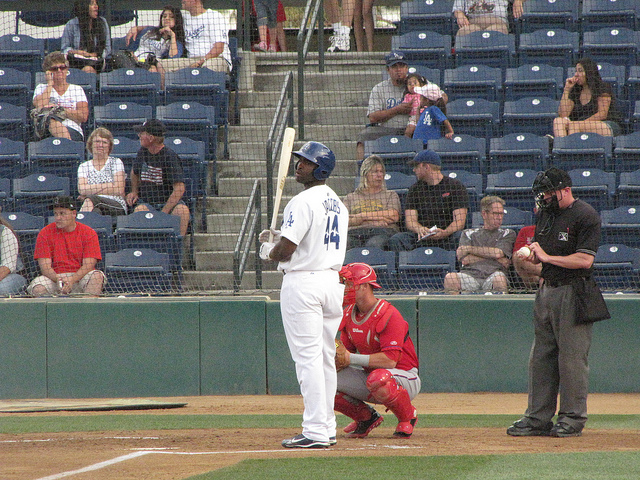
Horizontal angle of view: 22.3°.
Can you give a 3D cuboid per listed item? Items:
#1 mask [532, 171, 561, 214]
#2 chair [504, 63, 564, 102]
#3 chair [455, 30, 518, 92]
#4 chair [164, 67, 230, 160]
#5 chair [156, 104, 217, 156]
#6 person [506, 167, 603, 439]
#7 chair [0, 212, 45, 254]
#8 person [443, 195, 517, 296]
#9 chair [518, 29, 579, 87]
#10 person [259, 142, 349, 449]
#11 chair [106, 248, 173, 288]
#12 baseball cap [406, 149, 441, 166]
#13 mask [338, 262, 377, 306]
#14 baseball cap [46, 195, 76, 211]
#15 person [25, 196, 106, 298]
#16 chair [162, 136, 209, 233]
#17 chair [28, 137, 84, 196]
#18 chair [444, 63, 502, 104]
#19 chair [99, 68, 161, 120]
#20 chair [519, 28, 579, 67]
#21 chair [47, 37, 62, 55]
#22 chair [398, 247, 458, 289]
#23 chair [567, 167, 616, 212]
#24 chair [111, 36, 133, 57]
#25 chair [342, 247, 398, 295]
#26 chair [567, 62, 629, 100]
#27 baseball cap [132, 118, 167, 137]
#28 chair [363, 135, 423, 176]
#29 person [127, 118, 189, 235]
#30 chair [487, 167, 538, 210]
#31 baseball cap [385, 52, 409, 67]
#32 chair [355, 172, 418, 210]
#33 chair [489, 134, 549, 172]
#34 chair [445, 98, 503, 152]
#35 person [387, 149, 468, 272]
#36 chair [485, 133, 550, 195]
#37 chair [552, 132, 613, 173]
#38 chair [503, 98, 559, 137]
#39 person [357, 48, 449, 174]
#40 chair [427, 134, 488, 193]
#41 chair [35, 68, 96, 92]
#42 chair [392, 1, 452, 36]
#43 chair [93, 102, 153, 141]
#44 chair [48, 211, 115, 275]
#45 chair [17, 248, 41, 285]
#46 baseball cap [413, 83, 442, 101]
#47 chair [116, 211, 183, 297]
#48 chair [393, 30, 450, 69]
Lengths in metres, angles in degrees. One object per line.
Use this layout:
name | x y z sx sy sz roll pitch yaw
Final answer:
mask | 2.501 -0.530 18.171 0.248 0.462 0.218 1 2 43
chair | 2.940 -2.169 22.654 0.793 0.528 0.557 1 11 6
chair | 2.241 -2.518 22.901 0.800 0.798 0.646 3 6 14
chair | -1.961 -1.832 23.034 1.143 1.283 1.073 -3 5 -32
chair | -1.851 -1.544 22.253 0.933 0.734 0.625 -1 9 4
person | 2.625 0.686 18.113 0.902 2.991 0.541 0 1 5
chair | -3.796 -0.079 21.076 0.533 0.658 0.582 1 -11 -11
person | 2.006 0.168 20.423 0.937 1.375 0.906 -1 -1 -2
chair | 3.251 -2.572 23.217 1.169 0.992 0.800 1 7 11
person | -0.141 0.588 17.572 0.823 3.287 0.406 0 1 0
chair | -2.132 0.377 20.914 1.067 0.501 0.765 -3 -1 24
baseball cap | 1.319 -1.063 20.855 0.323 0.147 0.204 6 6 11
mask | 0.307 0.505 17.904 0.501 0.351 0.343 6 -2 -9
baseball cap | -3.223 -0.477 20.626 0.262 0.171 0.353 -1 -5 10
person | -3.195 0.063 20.561 0.962 1.227 0.248 0 1 -10
chair | -1.690 -0.757 21.626 0.497 1.294 0.874 -1 2 -36
chair | -3.559 -0.948 21.997 0.798 0.863 0.719 -1 1 2
chair | 2.095 -2.160 22.566 0.850 0.725 0.567 1 9 5
chair | -2.649 -2.035 22.665 0.874 0.664 0.655 -1 5 0
chair | 3.189 -2.729 23.125 0.905 0.571 0.585 1 27 2
chair | -4.000 -2.955 24.519 0.198 0.242 0.440 0 1 -8
chair | 1.330 0.344 20.507 0.821 0.522 0.486 0 -1 5
chair | 3.564 -0.639 21.299 0.645 0.772 0.588 -2 -3 10
chair | -3.067 -3.065 25.314 0.301 0.249 0.394 0 1 -8
chair | 0.624 0.376 20.533 0.683 0.633 0.611 1 -7 2
chair | 3.947 -2.081 22.404 0.729 0.641 0.473 -5 0 -30
baseball cap | -2.235 -1.483 21.314 0.392 0.170 0.235 6 7 9
chair | 0.965 -1.190 21.776 0.643 0.726 0.617 2 19 1
person | -2.076 -0.834 21.329 0.842 1.485 0.358 1 2 25
chair | 2.501 -0.681 21.194 0.582 0.668 0.580 0 0 7
baseball cap | 1.014 -2.471 22.192 0.236 0.149 0.300 -3 -2 1
chair | 0.827 -0.594 21.449 0.582 0.666 0.590 0 -15 1
chair | 2.616 -1.138 21.592 0.783 0.508 0.439 0 17 15
chair | 2.068 -1.412 22.214 0.959 0.609 1.000 -7 -17 5
person | 1.338 -0.255 20.664 1.289 1.642 1.164 -5 16 -10
chair | 2.567 -1.017 21.383 0.827 0.826 0.718 0 1 7
chair | 3.519 -1.173 21.641 0.792 0.546 0.531 1 15 37
chair | 2.821 -1.734 22.160 0.830 0.512 0.506 1 41 6
person | 1.117 -1.678 22.089 1.380 1.705 1.030 0 21 15
chair | 1.868 -1.025 21.897 0.869 1.020 0.778 0 1 8
chair | -3.553 -2.238 22.745 0.422 0.295 0.197 3 43 -3
chair | 1.474 -3.278 23.883 0.873 0.730 0.524 0 2 4
chair | -2.706 -1.678 22.176 0.828 0.548 0.538 1 31 -1
chair | -3.030 0.021 20.895 0.988 0.906 0.606 -3 -18 -7
chair | -3.697 0.340 20.777 0.365 0.421 0.392 0 -3 18
baseball cap | 1.421 -2.003 21.803 0.320 0.146 0.195 15 30 3
chair | -2.347 0.143 21.093 0.912 1.066 0.820 -1 0 -31
chair | 1.409 -2.659 23.325 0.855 0.684 0.472 0 7 13
